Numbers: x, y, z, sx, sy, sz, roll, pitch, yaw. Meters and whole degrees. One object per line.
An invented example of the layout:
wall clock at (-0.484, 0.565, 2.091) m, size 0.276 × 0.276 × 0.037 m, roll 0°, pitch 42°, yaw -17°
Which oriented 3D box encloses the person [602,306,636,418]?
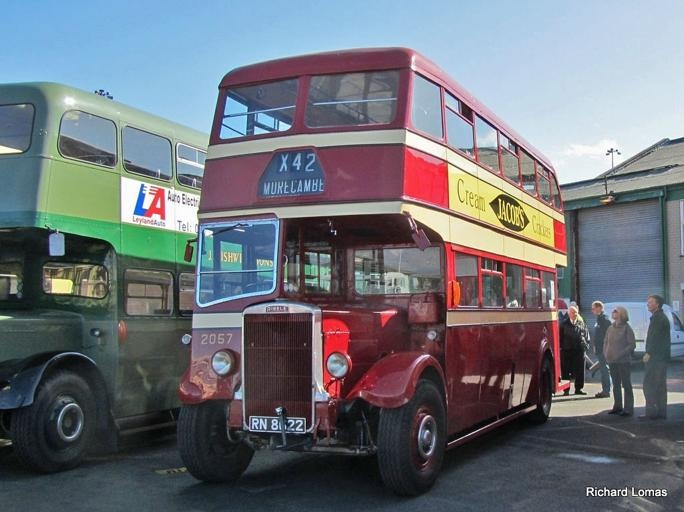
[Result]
person at (5.774, 2.165, 11.786) m, size 0.573 × 2.158 × 1.192 m, roll -4°, pitch -7°, yaw 25°

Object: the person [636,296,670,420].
person at (6.118, 1.954, 11.054) m, size 0.513 × 2.354 × 0.546 m, roll -4°, pitch -7°, yaw 29°
